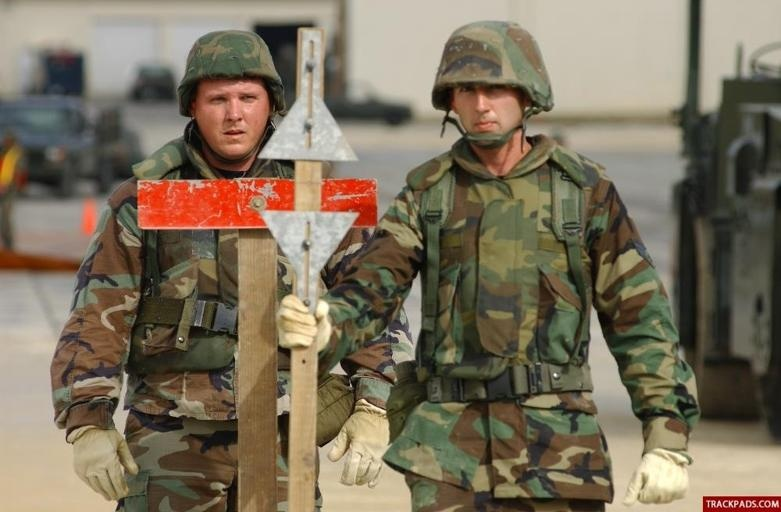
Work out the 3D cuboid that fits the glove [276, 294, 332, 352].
[{"bbox_3d":[-0.607,0.481,13.899,0.415,0.414,0.174,-1,4,-14],"label":"glove"}]
